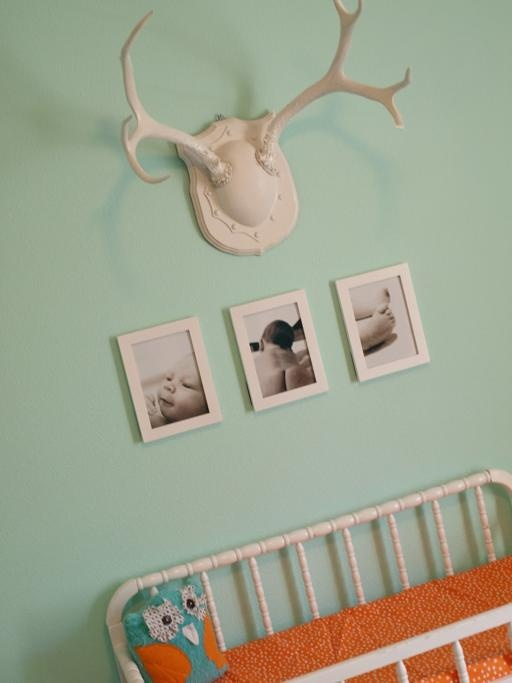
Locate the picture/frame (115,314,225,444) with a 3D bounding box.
[{"bbox_3d":[-0.301,0.136,2.246,0.361,0.454,0.020,-16,-3,-14],"label":"picture/frame"}]

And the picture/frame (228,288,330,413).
[{"bbox_3d":[0.079,0.026,2.315,0.311,0.325,0.117,-21,9,-1],"label":"picture/frame"}]
